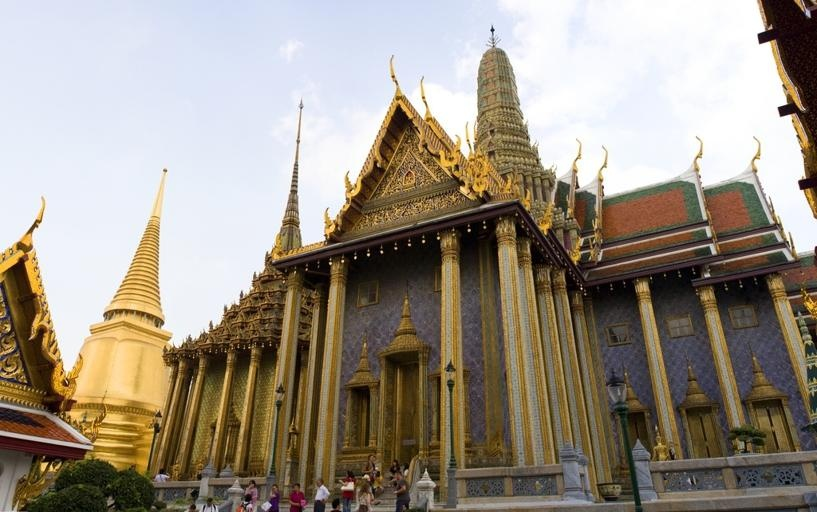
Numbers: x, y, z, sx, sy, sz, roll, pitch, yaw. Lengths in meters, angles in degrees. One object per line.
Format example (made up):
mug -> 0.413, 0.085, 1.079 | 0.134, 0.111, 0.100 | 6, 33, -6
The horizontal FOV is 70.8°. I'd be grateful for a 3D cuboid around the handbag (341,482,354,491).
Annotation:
handbag -> -1.474, 5.554, 13.765 | 0.256, 0.071, 0.266 | -1, -6, 10
